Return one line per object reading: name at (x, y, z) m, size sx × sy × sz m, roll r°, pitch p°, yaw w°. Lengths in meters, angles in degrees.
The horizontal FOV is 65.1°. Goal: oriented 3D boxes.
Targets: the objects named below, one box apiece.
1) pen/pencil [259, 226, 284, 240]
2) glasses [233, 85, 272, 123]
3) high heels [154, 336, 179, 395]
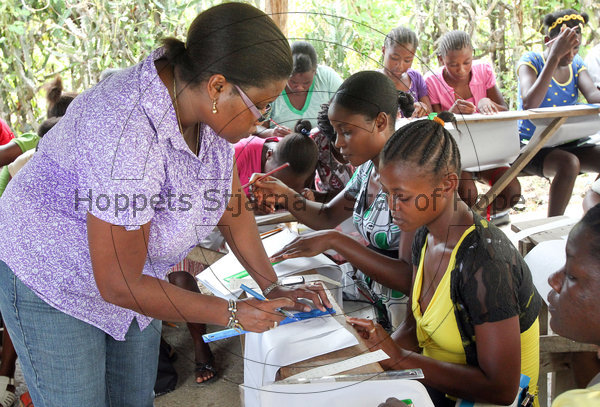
pen/pencil at (-0.160, 0.166, 2.643) m, size 0.112 × 0.026 × 0.017 m, roll -17°, pitch 63°, yaw -21°
glasses at (-0.146, -0.354, 1.636) m, size 0.073 × 0.168 × 0.176 m, roll -3°, pitch 30°, yaw 14°
high heels at (-0.861, 1.037, 2.979) m, size 0.154 × 0.366 × 0.123 m, roll 4°, pitch -1°, yaw 26°
